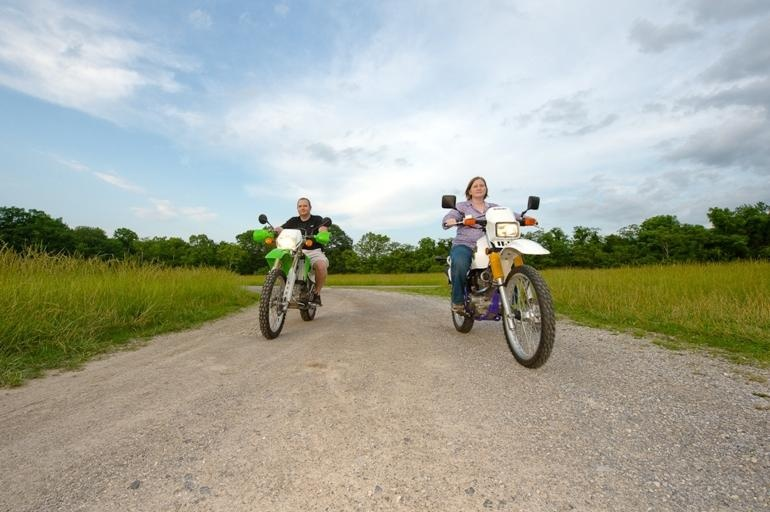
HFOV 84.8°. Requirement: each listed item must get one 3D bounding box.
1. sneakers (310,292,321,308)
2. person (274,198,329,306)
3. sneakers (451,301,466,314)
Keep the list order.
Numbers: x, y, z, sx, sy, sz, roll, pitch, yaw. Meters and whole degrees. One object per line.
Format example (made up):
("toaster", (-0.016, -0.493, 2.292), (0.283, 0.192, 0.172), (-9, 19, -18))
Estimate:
("sneakers", (-1.322, 0.867, 8.160), (0.146, 0.225, 0.323), (0, -17, -1))
("person", (-1.656, -0.129, 8.543), (1.075, 2.146, 1.002), (-4, -8, -1))
("sneakers", (1.160, 0.799, 6.596), (0.160, 0.154, 0.340), (2, -13, 3))
